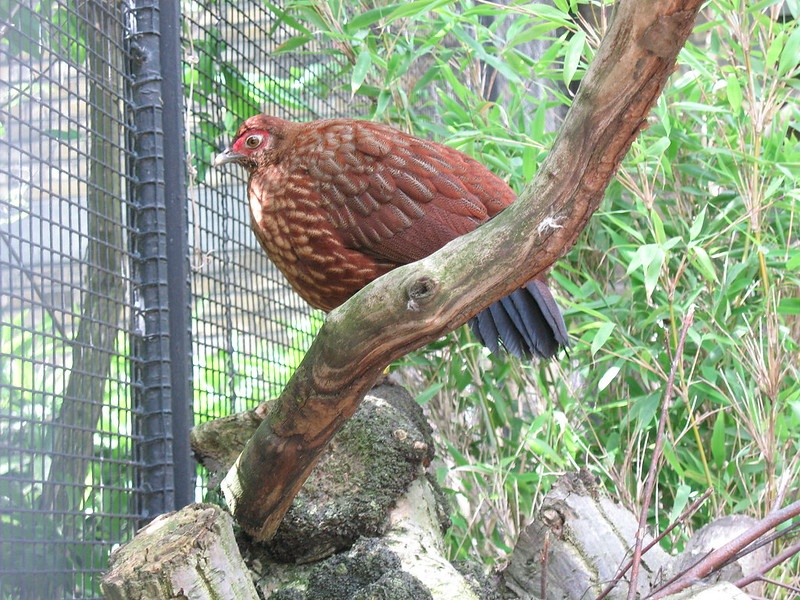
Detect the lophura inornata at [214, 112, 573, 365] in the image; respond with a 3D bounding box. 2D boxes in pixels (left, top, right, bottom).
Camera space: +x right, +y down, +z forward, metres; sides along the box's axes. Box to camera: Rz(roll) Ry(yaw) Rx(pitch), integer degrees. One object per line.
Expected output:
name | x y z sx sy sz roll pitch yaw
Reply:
lophura inornata | -0.062 -0.174 4.887 1.434 1.034 0.766 6 -5 14
